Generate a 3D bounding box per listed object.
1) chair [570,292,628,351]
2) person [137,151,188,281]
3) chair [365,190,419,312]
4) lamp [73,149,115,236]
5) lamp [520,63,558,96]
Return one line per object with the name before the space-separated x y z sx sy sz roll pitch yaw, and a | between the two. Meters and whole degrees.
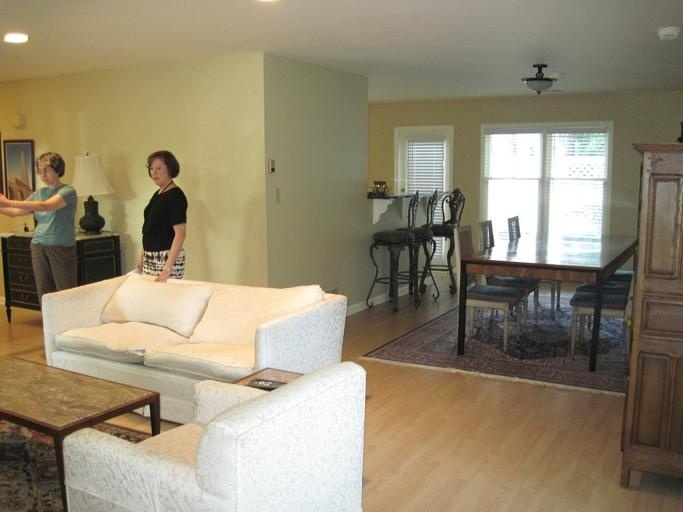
chair | 2.231 0.476 4.869 0.513 0.378 0.778 0 4 27
person | -1.370 -0.297 4.214 0.376 0.984 0.488 -7 13 -30
chair | 0.680 -0.088 6.720 0.608 1.371 1.042 3 12 17
lamp | -2.673 -0.671 5.946 0.384 0.850 0.583 -6 13 -25
lamp | 2.128 -1.876 5.947 0.346 0.304 0.345 -1 10 -1
